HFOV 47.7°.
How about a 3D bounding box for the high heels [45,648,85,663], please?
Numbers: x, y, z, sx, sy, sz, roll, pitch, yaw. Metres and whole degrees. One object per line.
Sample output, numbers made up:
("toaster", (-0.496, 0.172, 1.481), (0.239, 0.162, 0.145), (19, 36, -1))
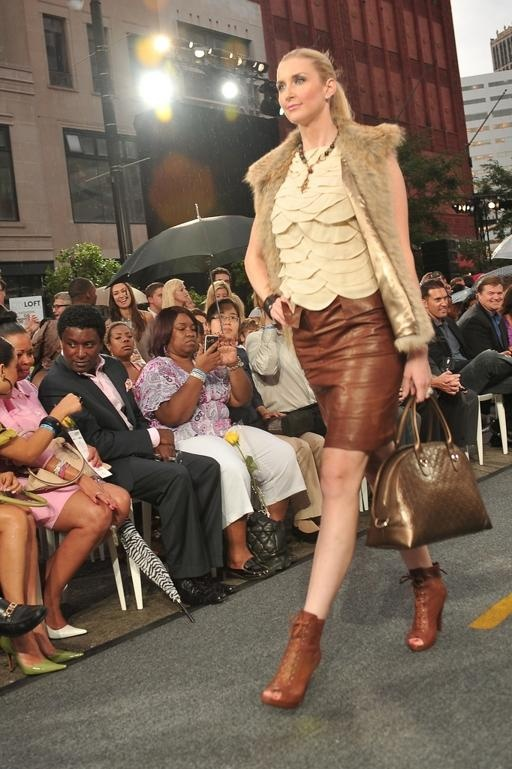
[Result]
("high heels", (-0.817, 1.161, 2.494), (0.155, 0.041, 0.050), (3, -1, 7))

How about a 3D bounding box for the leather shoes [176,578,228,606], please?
("leather shoes", (-0.284, 1.100, 3.092), (0.212, 0.071, 0.135), (-5, 6, 37))

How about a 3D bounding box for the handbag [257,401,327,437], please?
("handbag", (0.324, 0.276, 4.574), (0.420, 0.133, 0.285), (4, 11, 39))

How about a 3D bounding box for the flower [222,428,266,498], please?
("flower", (-0.063, 0.536, 3.739), (0.185, 0.499, 0.184), (-38, -36, 24))

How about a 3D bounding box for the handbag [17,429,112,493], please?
("handbag", (-0.909, 0.398, 3.060), (0.469, 0.335, 0.186), (-12, -29, 34))

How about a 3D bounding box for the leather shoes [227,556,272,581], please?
("leather shoes", (-0.036, 1.088, 3.431), (0.257, 0.089, 0.104), (-12, -9, 44))

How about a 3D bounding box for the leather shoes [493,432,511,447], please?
("leather shoes", (2.766, 0.620, 6.488), (0.134, 0.167, 0.147), (8, 49, 21))

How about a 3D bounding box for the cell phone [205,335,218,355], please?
("cell phone", (-0.288, -0.274, 3.819), (0.113, 0.096, 0.089), (-13, 8, -16))

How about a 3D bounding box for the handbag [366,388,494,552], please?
("handbag", (0.560, 0.319, 1.916), (0.430, 0.385, 0.195), (-15, 9, -32))

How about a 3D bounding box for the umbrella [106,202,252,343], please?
("umbrella", (-0.661, -1.437, 7.213), (1.660, 0.772, 1.655), (-26, -3, 25))

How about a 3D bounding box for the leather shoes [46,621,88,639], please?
("leather shoes", (-0.916, 1.200, 2.858), (0.217, 0.079, 0.065), (-2, 1, -1))

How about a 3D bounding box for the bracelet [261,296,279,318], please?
("bracelet", (0.051, -0.271, 2.048), (0.079, 0.071, 0.056), (-18, 16, -39))

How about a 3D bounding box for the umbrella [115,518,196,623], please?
("umbrella", (-0.543, 0.950, 3.045), (0.222, 0.158, 0.968), (11, 8, -31))
